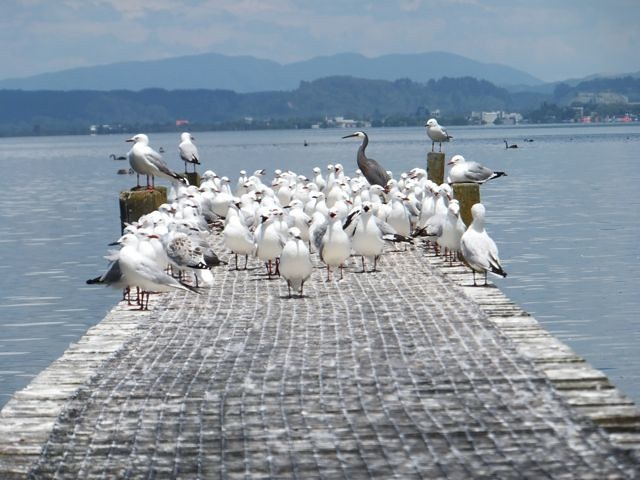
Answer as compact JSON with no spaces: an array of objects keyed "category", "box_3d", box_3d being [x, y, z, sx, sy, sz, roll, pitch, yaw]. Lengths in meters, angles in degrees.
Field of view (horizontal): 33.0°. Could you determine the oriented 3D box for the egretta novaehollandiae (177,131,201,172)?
[{"category":"egretta novaehollandiae","box_3d":[-4.341,-2.891,35.297,0.618,1.020,1.592,-6,22,-21]}]
